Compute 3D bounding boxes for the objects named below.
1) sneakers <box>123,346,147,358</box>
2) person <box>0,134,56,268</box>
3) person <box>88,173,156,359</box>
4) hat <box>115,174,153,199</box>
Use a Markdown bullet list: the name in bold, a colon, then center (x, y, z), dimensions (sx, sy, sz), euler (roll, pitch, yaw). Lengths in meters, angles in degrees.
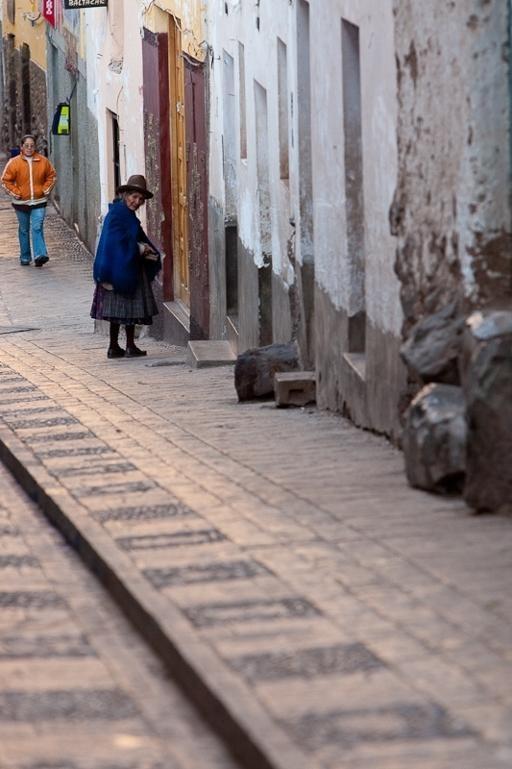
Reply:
- **sneakers**: center (-1.095, -0.317, 10.474), dimensions (0.201, 0.123, 0.080), euler (-6, 10, -39)
- **person**: center (-3.398, -2.755, 17.331), dimensions (0.757, 1.967, 1.278), euler (-6, 7, -13)
- **person**: center (-1.141, -1.020, 10.109), dimensions (0.619, 1.557, 0.398), euler (-6, 6, -11)
- **hat**: center (-1.053, -1.722, 10.093), dimensions (0.200, 0.147, 0.283), euler (7, -8, -14)
